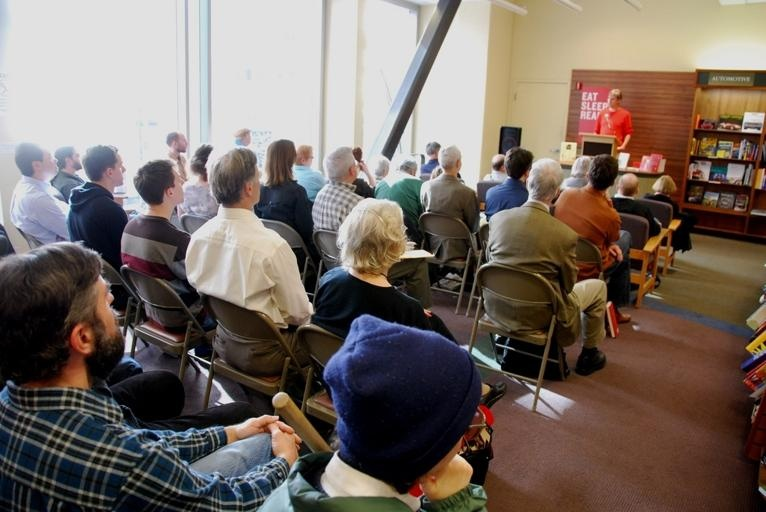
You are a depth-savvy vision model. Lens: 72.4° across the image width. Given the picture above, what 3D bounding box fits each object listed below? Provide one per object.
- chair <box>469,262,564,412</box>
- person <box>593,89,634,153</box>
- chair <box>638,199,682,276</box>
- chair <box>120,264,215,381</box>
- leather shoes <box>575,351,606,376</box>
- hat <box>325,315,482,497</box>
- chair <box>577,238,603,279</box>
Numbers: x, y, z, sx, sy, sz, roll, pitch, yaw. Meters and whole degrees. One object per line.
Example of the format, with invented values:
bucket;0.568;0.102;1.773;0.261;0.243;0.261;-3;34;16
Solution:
chair;0.998;0.483;3.825;0.548;1.006;0.645;12;19;32
person;3.890;-2.268;8.714;0.502;0.964;0.940;2;15;-2
chair;3.020;-0.217;5.802;0.404;0.620;0.467;-16;15;-31
chair;-1.369;0.308;3.352;0.569;0.758;0.486;-29;-25;24
leather shoes;1.605;0.792;4.047;0.123;0.211;0.295;11;21;41
hat;0.067;0.403;1.539;0.459;0.429;0.365;-7;18;-37
chair;1.699;0.011;4.276;0.172;0.305;0.226;14;38;31
